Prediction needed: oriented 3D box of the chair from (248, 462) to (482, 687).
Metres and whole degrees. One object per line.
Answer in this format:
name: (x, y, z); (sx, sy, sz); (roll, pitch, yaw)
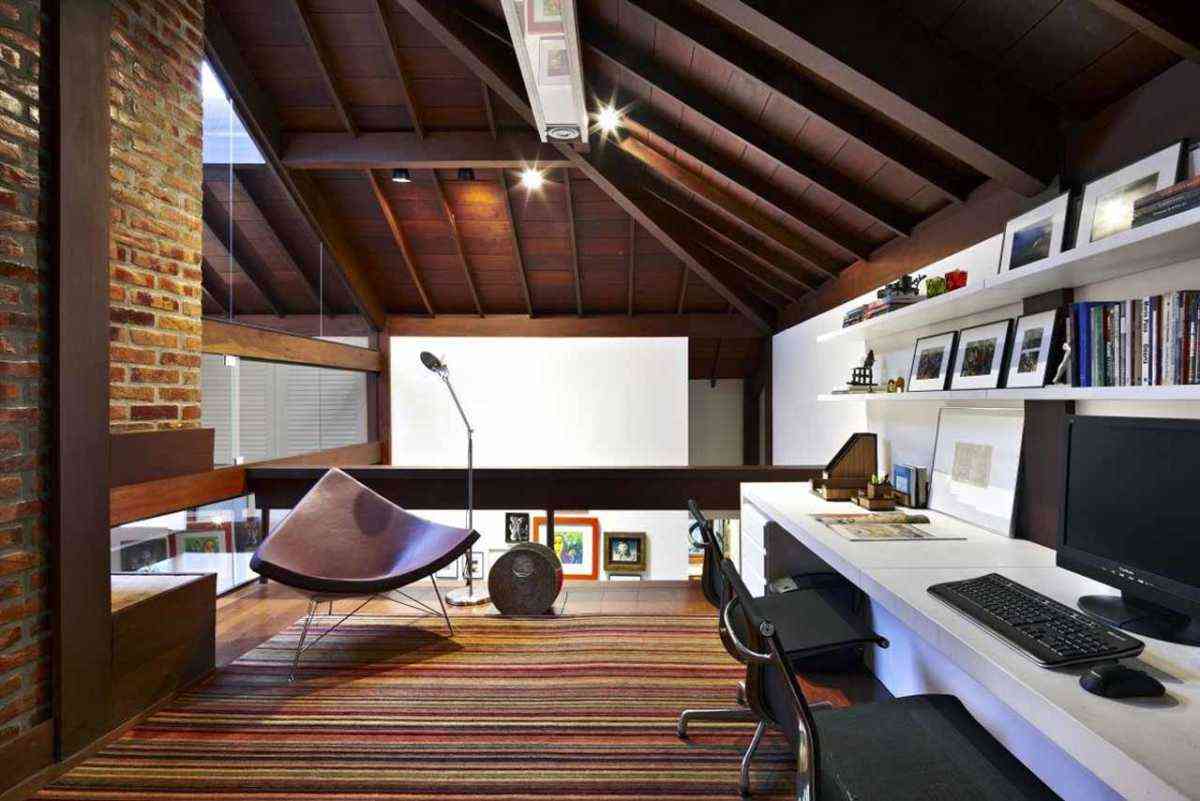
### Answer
chair: (-1.432, 0.899, 4.737); (1.130, 0.877, 1.121); (0, -1, -31)

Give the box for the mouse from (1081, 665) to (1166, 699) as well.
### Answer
mouse: (1.725, 0.927, 2.632); (0.212, 0.073, 0.113); (-3, -1, -10)
